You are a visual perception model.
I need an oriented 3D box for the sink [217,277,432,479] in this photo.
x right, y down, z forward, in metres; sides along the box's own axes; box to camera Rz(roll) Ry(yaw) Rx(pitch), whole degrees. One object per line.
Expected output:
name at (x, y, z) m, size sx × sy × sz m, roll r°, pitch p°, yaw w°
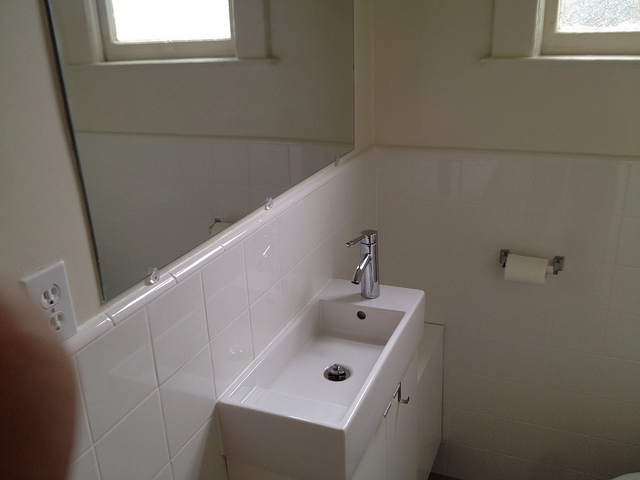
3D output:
sink at (-0.021, 0.227, 1.341) m, size 0.330 × 0.185 × 0.831 m, roll 3°, pitch 23°, yaw 20°

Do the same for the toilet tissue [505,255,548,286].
toilet tissue at (0.803, 0.121, 1.991) m, size 0.182 × 0.149 × 0.114 m, roll 3°, pitch 4°, yaw 10°
